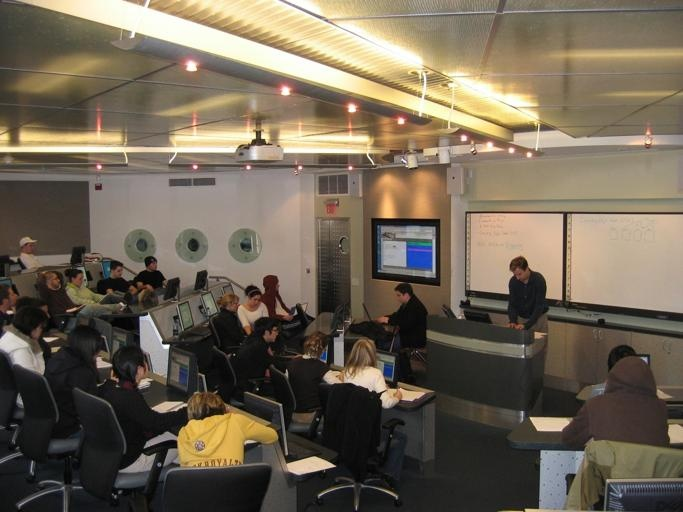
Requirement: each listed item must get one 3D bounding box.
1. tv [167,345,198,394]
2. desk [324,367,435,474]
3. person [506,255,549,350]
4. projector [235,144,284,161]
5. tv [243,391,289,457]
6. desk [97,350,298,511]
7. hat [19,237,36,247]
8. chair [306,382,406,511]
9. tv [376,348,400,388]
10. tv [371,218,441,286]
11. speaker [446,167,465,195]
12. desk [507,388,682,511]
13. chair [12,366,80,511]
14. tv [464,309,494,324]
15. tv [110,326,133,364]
[{"bbox_3d":[-1.449,1.078,4.831,0.158,0.396,0.463,3,1,-42],"label":"tv"},{"bbox_3d":[0.408,1.669,5.275,1.053,0.942,0.672,6,12,41],"label":"desk"},{"bbox_3d":[2.429,0.502,6.672,0.484,0.970,0.533,2,4,18],"label":"person"},{"bbox_3d":[-0.766,-0.990,4.923,0.463,0.165,0.223,1,3,7],"label":"projector"},{"bbox_3d":[-0.622,1.269,3.861,0.250,0.433,0.490,-6,5,-39],"label":"tv"},{"bbox_3d":[-1.108,1.329,3.885,0.944,1.252,1.364,-4,8,-44],"label":"desk"},{"bbox_3d":[-6.056,-0.271,9.960,0.334,0.132,0.225,-9,6,-21],"label":"hat"},{"bbox_3d":[0.094,1.648,4.486,0.735,1.177,0.966,3,4,27],"label":"chair"},{"bbox_3d":[0.455,1.151,5.333,0.081,0.339,0.480,2,-2,-27],"label":"tv"},{"bbox_3d":[1.161,-0.084,9.110,0.080,1.092,1.604,-5,7,-42],"label":"tv"},{"bbox_3d":[1.821,-1.204,8.133,0.281,0.429,0.162,2,4,15],"label":"speaker"},{"bbox_3d":[1.792,1.524,3.978,1.417,0.892,0.739,0,6,8],"label":"desk"},{"bbox_3d":[-2.577,1.527,4.503,0.465,1.294,0.869,-2,4,-32],"label":"chair"},{"bbox_3d":[1.713,0.754,6.444,0.315,0.114,0.394,1,3,11],"label":"tv"},{"bbox_3d":[-2.093,0.846,4.913,0.415,0.385,0.056,8,5,43],"label":"tv"}]
